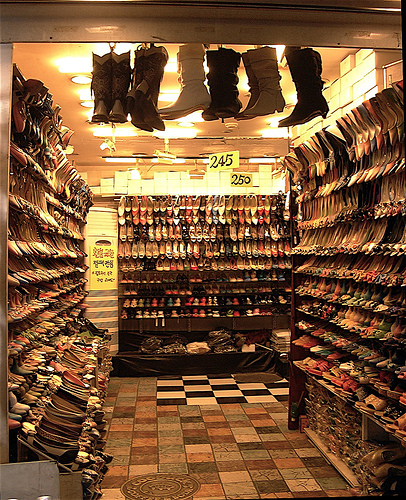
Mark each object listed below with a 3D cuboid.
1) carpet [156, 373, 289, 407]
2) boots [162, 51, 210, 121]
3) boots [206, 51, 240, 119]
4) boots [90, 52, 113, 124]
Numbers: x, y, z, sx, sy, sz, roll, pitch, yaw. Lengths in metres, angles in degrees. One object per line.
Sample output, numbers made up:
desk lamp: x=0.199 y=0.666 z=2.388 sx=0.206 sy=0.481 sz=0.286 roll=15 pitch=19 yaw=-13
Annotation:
carpet: x=0.308 y=2.040 z=6.002 sx=2.013 sy=0.058 sz=1.670 roll=-1 pitch=-6 yaw=-2
boots: x=-0.078 y=-0.757 z=1.832 sx=0.228 sy=0.303 sz=0.110 roll=-4 pitch=-8 yaw=26
boots: x=0.097 y=-0.781 z=1.889 sx=0.160 sy=0.332 sz=0.101 roll=-1 pitch=-7 yaw=-4
boots: x=-0.492 y=-0.799 z=1.993 sx=0.095 sy=0.362 sz=0.133 roll=1 pitch=-7 yaw=-15
